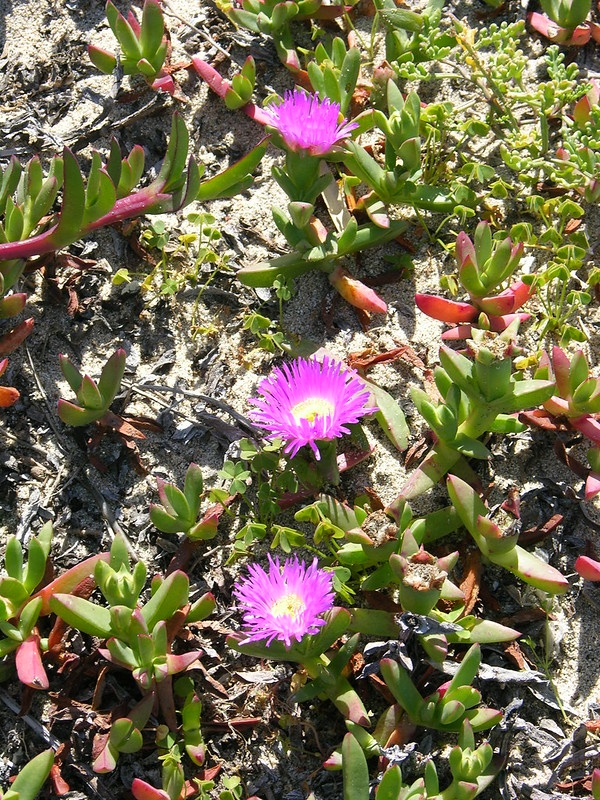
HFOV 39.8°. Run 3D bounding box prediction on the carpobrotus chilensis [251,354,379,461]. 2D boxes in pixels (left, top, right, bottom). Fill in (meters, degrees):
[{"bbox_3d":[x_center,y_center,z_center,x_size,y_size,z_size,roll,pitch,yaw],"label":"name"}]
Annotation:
[{"bbox_3d":[0.041,0.019,1.707,0.279,0.133,0.260,-7,31,-19],"label":"carpobrotus chilensis"}]
